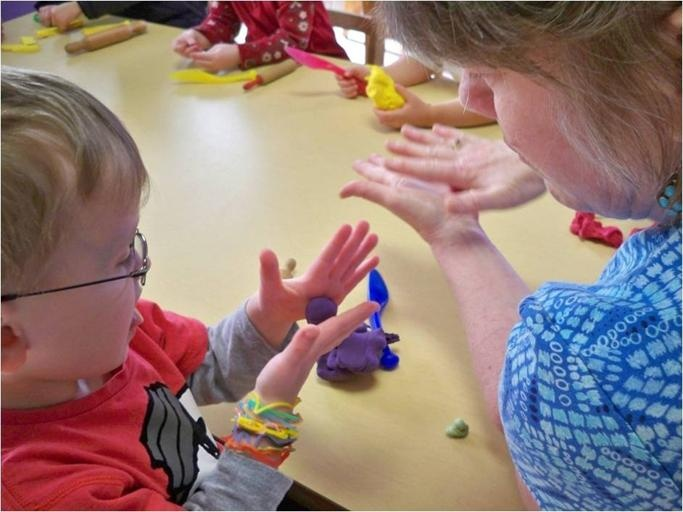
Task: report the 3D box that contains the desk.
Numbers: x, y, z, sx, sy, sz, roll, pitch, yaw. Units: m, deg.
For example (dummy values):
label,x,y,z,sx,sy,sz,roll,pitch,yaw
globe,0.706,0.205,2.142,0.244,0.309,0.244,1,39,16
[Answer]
label,x,y,z,sx,sy,sz,roll,pitch,yaw
desk,0.003,0.046,1.263,1.204,0.301,0.854,25,58,22
